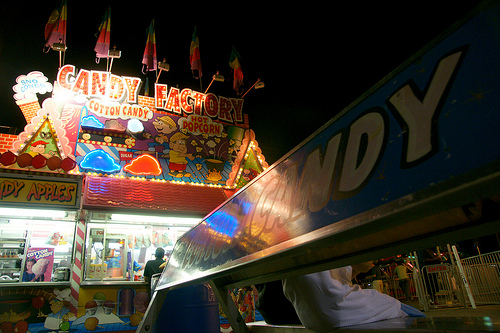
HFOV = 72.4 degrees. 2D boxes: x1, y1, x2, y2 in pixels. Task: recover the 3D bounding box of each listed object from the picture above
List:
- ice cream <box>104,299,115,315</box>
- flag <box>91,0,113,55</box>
[{"bbox_3d":[-3.208,3.217,7.746,0.239,0.244,0.275,7,-21,-17],"label":"ice cream"},{"bbox_3d":[-4.737,-4.308,11.103,0.447,2.010,1.064,13,-29,-27],"label":"flag"}]
